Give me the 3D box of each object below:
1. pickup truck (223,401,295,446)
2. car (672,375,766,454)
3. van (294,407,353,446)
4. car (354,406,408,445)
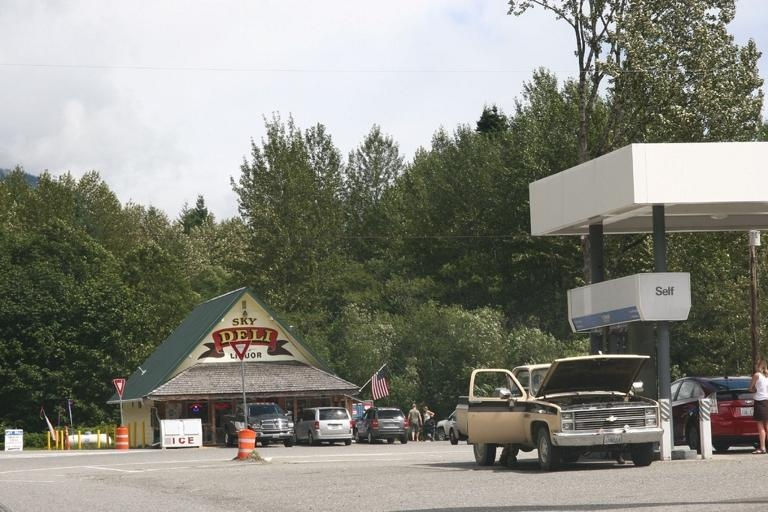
[{"bbox_3d":[-7.225,9.748,85.315,2.879,2.275,5.643,2,-7,-24],"label":"pickup truck"},{"bbox_3d":[14.314,7.156,67.369,3.850,3.234,8.209,4,-6,-20],"label":"car"},{"bbox_3d":[-3.591,9.935,86.806,2.425,1.974,5.328,0,-6,-21],"label":"van"},{"bbox_3d":[-0.182,10.098,88.224,2.395,2.171,5.136,1,-5,-14],"label":"car"}]
